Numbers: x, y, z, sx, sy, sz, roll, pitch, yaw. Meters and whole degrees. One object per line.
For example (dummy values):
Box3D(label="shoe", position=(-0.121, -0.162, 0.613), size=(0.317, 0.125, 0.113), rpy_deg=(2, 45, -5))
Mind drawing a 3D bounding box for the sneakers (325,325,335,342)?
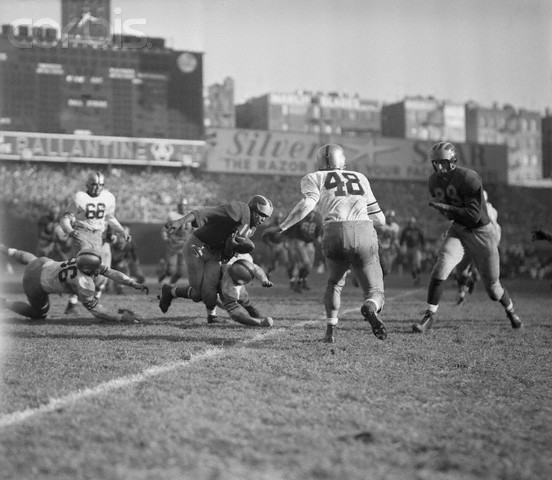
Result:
Box3D(label="sneakers", position=(0.681, 1.150, 16.266), size=(0.133, 0.234, 0.345), rpy_deg=(0, 3, 4))

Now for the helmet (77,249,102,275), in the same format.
Box3D(label="helmet", position=(-2.534, 0.291, 17.217), size=(0.328, 0.286, 0.329), rpy_deg=(-5, -20, -17))

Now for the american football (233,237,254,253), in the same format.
Box3D(label="american football", position=(-0.430, 0.055, 16.909), size=(0.258, 0.230, 0.311), rpy_deg=(0, 3, 5))

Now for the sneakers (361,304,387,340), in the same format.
Box3D(label="sneakers", position=(1.226, 1.040, 16.293), size=(0.162, 0.434, 0.219), rpy_deg=(-34, -9, 19))

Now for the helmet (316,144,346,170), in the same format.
Box3D(label="helmet", position=(0.690, -1.073, 16.352), size=(0.286, 0.295, 0.349), rpy_deg=(0, -3, -8))

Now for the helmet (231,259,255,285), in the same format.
Box3D(label="helmet", position=(-0.457, 0.452, 16.969), size=(0.313, 0.250, 0.269), rpy_deg=(41, -16, -11))

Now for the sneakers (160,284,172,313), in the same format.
Box3D(label="sneakers", position=(-1.523, 0.816, 17.752), size=(0.139, 0.423, 0.179), rpy_deg=(3, 16, -4))

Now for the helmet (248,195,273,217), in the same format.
Box3D(label="helmet", position=(-0.215, -0.477, 16.812), size=(0.292, 0.267, 0.236), rpy_deg=(9, 27, 9))
